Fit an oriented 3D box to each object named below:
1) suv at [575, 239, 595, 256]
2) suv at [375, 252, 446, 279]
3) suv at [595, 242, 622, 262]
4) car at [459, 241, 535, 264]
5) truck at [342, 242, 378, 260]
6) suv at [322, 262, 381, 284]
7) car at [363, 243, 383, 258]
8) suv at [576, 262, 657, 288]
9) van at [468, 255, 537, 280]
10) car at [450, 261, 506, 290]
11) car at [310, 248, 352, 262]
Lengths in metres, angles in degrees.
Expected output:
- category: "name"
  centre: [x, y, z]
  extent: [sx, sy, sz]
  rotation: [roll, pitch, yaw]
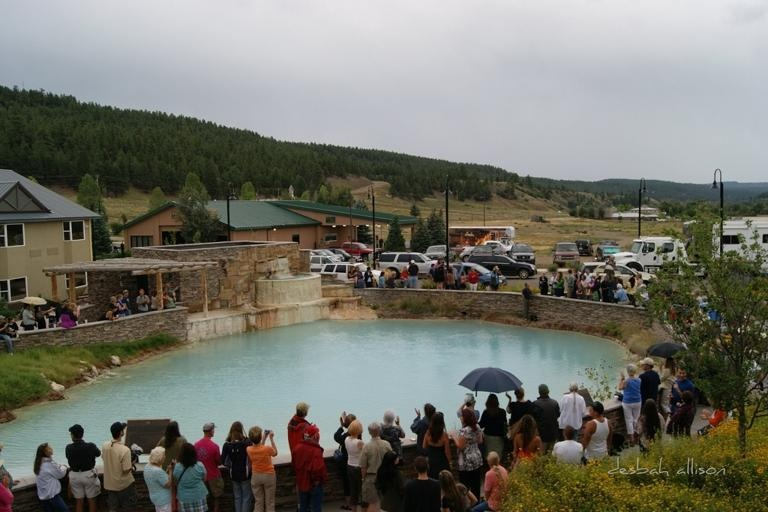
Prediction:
- category: "suv"
  centre: [16.454, -0.572, 54.319]
  extent: [1.091, 0.895, 2.384]
  rotation: [1, 10, 19]
- category: "suv"
  centre: [1.318, 0.669, 42.302]
  extent: [3.077, 1.319, 1.599]
  rotation: [-1, 4, 7]
- category: "suv"
  centre: [16.060, -0.222, 47.480]
  extent: [1.513, 1.348, 3.369]
  rotation: [-2, 1, 7]
- category: "car"
  centre: [8.438, 0.306, 48.818]
  extent: [5.101, 1.932, 2.382]
  rotation: [-2, 4, 20]
- category: "truck"
  centre: [-2.236, -0.373, 56.483]
  extent: [2.488, 1.223, 1.442]
  rotation: [-1, 10, -1]
- category: "suv"
  centre: [-2.112, 1.225, 38.821]
  extent: [2.899, 1.246, 1.452]
  rotation: [-1, 5, 4]
- category: "car"
  centre: [-0.932, -0.332, 56.497]
  extent: [1.503, 0.862, 0.982]
  rotation: [-2, 2, 18]
- category: "suv"
  centre: [11.671, 1.004, 33.279]
  extent: [2.539, 0.964, 1.164]
  rotation: [-2, 8, 1]
- category: "van"
  centre: [7.362, 0.649, 40.669]
  extent: [3.807, 1.409, 1.612]
  rotation: [-1, 5, -1]
- category: "car"
  centre: [5.378, 1.179, 37.186]
  extent: [2.634, 1.395, 1.535]
  rotation: [-2, 2, 14]
- category: "car"
  centre: [-3.630, 0.144, 46.332]
  extent: [2.215, 0.834, 1.098]
  rotation: [-3, 5, 20]
